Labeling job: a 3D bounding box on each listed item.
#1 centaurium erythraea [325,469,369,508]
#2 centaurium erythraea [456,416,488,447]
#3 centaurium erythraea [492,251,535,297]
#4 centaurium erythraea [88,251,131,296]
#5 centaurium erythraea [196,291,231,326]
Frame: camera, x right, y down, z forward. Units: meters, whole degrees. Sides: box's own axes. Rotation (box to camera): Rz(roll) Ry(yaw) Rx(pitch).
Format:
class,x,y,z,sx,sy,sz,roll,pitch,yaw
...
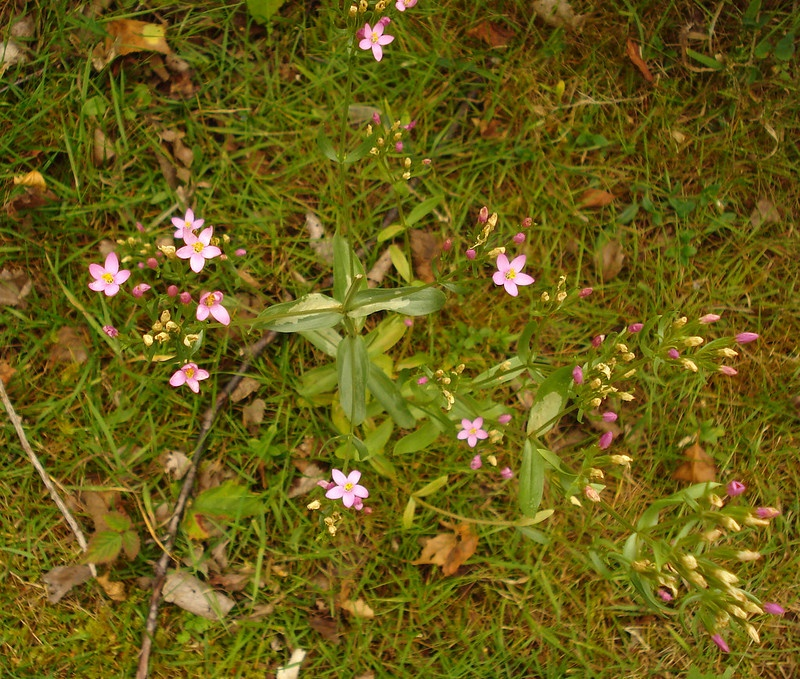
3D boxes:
class,x,y,z,sx,sy,sz,roll,pitch,yaw
centaurium erythraea,-0.293,0.823,4.002,0.208,0.079,0.233,19,84,-22
centaurium erythraea,0.416,0.516,4.133,0.170,0.172,0.172,23,87,4
centaurium erythraea,0.614,-0.378,4.042,0.226,0.094,0.240,44,64,-35
centaurium erythraea,-1.680,-0.361,4.168,0.228,0.116,0.247,-24,96,-14
centaurium erythraea,-1.003,-0.172,3.879,0.145,0.097,0.200,1,95,-8
